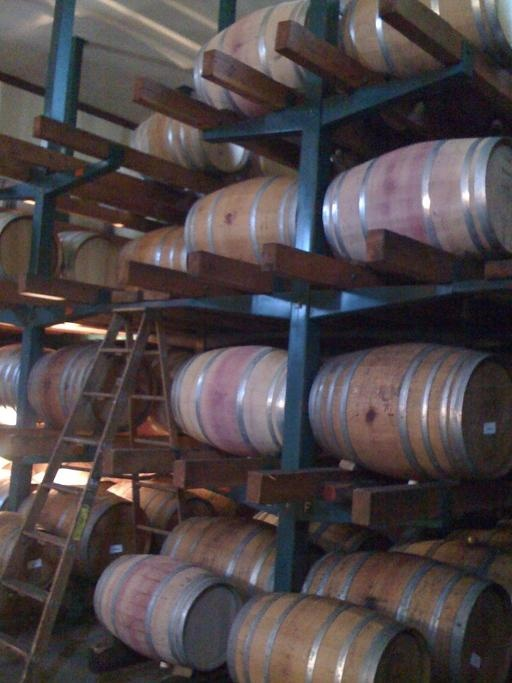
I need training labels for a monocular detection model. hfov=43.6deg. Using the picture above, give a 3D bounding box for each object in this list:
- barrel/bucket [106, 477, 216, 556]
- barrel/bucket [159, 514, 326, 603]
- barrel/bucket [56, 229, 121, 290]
[{"bbox_3d":[-0.782,1.401,5.398,0.782,0.648,0.958,7,-2,-37],"label":"barrel/bucket"},{"bbox_3d":[-0.031,1.262,4.142,0.480,0.492,0.665,-2,12,-43],"label":"barrel/bucket"},{"bbox_3d":[-1.729,-0.835,6.413,0.648,0.621,0.674,4,4,0],"label":"barrel/bucket"}]
